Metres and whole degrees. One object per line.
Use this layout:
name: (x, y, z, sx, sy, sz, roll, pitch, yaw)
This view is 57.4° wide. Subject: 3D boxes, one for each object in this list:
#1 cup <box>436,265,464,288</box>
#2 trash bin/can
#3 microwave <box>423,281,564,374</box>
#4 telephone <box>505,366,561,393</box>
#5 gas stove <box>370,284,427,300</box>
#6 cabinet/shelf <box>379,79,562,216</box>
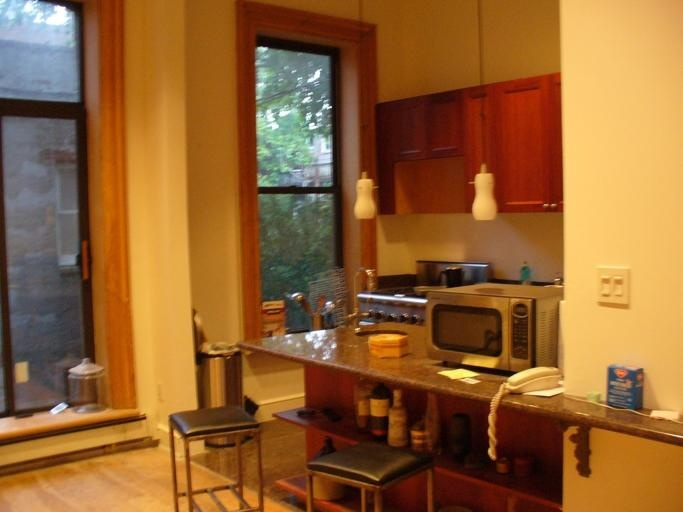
cup: (1.043, 0.175, 5.937, 0.191, 0.340, 0.216, -2, 7, -25)
trash bin/can: (-1.080, 1.116, 5.098, 0.314, 0.623, 0.300, 4, -12, -35)
microwave: (0.811, 0.372, 3.226, 0.495, 0.358, 0.649, 0, 0, -38)
telephone: (0.851, 0.539, 2.764, 0.202, 0.060, 0.115, -3, 1, -13)
gas stove: (0.597, 0.337, 5.653, 0.608, 0.031, 0.516, 3, 6, 37)
cabinet/shelf: (1.128, -0.916, 5.302, 0.391, 0.729, 1.459, -2, 2, -44)
